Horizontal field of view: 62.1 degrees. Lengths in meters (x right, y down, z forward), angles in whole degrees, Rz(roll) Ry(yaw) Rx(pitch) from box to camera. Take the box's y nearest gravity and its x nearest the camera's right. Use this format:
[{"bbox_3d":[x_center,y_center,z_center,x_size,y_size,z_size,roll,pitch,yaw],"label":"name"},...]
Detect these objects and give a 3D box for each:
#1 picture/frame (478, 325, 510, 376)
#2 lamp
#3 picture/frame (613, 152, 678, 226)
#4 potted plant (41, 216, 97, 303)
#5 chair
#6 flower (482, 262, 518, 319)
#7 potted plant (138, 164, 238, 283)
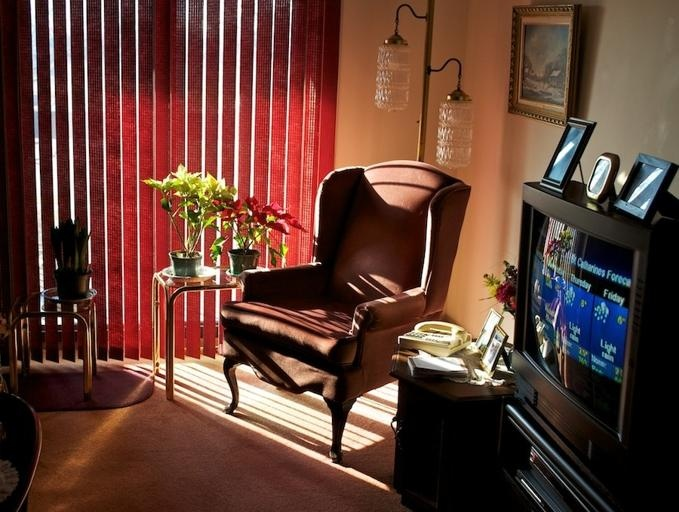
[{"bbox_3d":[0.678,0.377,2.415,0.062,0.259,0.342,15,-2,11],"label":"picture/frame"},{"bbox_3d":[0.501,-0.987,3.340,0.626,1.028,0.955,6,18,11],"label":"lamp"},{"bbox_3d":[0.897,-0.200,1.639,0.104,0.163,0.219,4,18,6],"label":"picture/frame"},{"bbox_3d":[-1.439,-0.001,3.028,0.183,0.402,0.257,-7,19,-28],"label":"potted plant"},{"bbox_3d":[0.040,0.184,3.070,1.153,1.345,1.266,7,9,21],"label":"chair"},{"bbox_3d":[0.730,0.143,2.576,0.112,0.083,0.108,-40,16,17],"label":"flower"},{"bbox_3d":[-0.843,-0.197,3.429,0.616,0.672,0.634,2,7,-13],"label":"potted plant"}]
